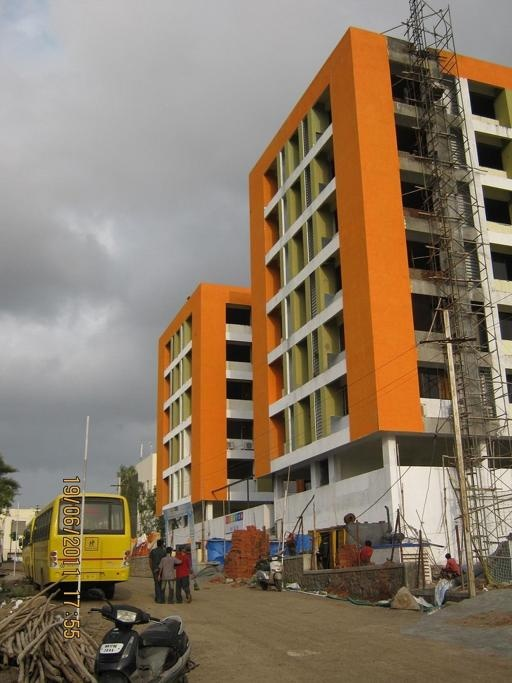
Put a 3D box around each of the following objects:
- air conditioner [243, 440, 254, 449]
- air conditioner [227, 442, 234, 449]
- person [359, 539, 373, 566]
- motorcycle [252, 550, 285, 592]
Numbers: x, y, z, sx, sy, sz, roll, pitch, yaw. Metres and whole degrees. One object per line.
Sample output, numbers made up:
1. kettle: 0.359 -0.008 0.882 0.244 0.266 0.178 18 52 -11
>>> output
1. air conditioner: -0.657 8.906 55.088 0.908 0.864 0.638 2 -18 -10
2. air conditioner: -2.166 8.786 54.385 0.539 0.558 0.538 -9 -15 30
3. person: 3.691 7.113 21.614 0.444 0.754 1.367 -6 -18 8
4. motorcycle: 0.567 8.964 24.790 0.736 1.125 2.211 6 -22 -15
